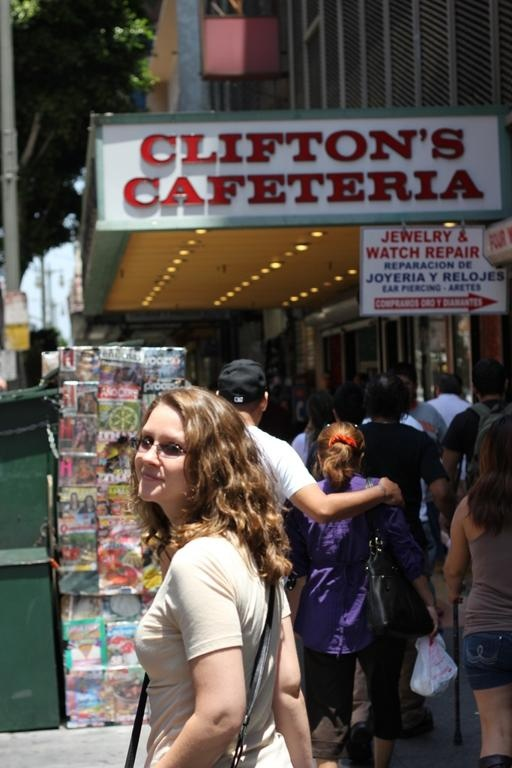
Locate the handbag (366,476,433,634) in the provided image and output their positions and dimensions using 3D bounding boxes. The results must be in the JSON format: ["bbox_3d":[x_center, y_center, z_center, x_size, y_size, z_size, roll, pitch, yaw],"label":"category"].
[{"bbox_3d":[0.554,0.677,4.293,0.148,0.554,0.427,-26,-34,16],"label":"handbag"}]

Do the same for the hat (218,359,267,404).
[{"bbox_3d":[-0.042,-0.013,4.111,0.128,0.102,0.196,0,24,4],"label":"hat"}]
